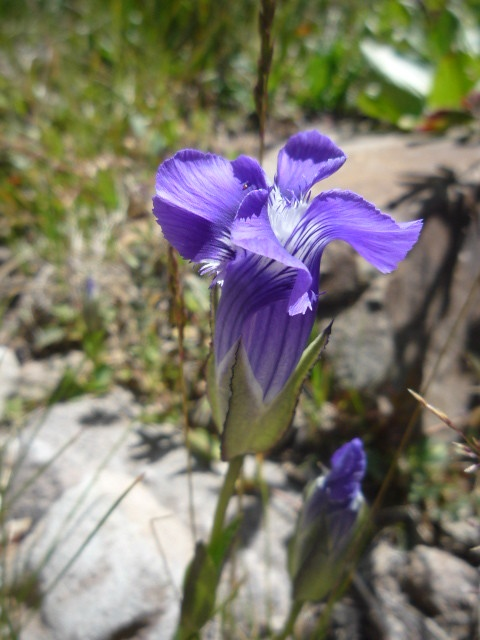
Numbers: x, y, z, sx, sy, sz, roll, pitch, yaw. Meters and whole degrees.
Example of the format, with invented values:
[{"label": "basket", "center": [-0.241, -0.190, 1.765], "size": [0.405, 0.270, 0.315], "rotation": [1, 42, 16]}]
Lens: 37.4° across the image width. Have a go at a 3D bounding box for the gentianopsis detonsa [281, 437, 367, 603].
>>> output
[{"label": "gentianopsis detonsa", "center": [0.152, 0.341, 1.193], "size": [0.114, 0.292, 0.080], "rotation": [9, 21, 2]}]
